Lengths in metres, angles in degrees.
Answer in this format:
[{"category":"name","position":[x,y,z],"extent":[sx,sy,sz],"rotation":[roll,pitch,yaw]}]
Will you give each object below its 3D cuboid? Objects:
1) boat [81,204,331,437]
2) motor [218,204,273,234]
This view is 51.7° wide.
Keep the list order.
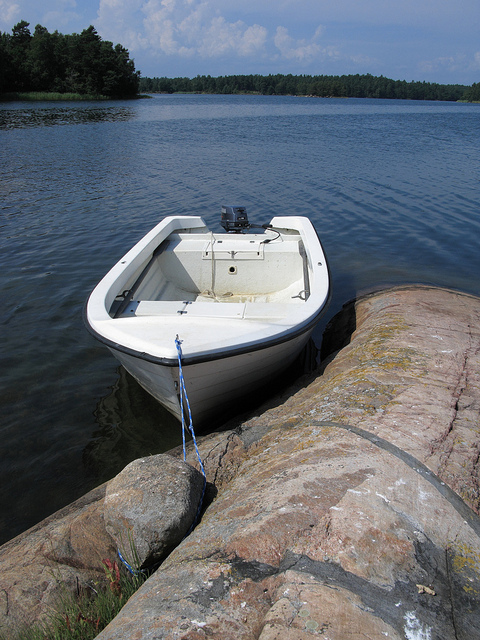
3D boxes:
[{"category":"boat","position":[-0.200,-0.134,5.326],"extent":[2.273,1.203,3.998],"rotation":[1,26,7]},{"category":"motor","position":[0.184,-1.385,6.859],"extent":[0.654,0.433,0.693],"rotation":[-11,23,-38]}]
